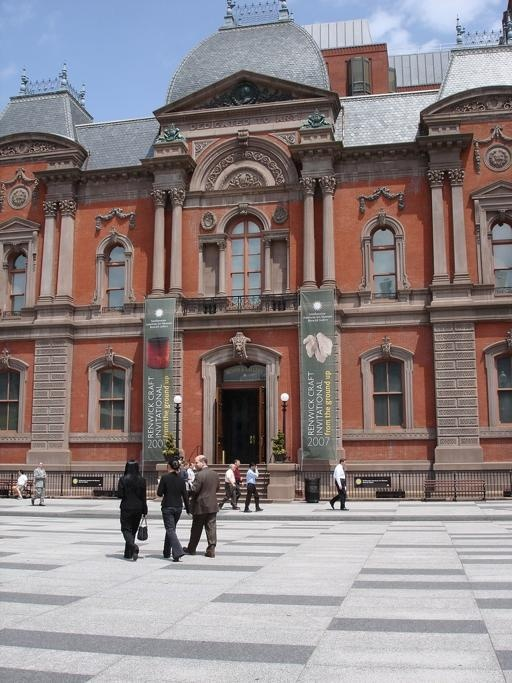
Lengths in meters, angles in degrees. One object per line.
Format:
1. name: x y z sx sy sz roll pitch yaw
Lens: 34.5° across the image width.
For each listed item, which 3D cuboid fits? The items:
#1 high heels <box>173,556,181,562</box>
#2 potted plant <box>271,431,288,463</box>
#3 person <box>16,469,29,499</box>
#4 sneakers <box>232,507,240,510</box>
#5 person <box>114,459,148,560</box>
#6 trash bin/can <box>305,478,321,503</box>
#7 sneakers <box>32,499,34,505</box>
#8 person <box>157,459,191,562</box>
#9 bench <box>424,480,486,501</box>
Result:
1. high heels: -1.208 3.239 12.283 0.123 0.093 0.076 -7 -1 4
2. potted plant: 0.727 3.477 27.020 0.425 0.994 0.589 0 -10 -3
3. person: -8.591 5.198 29.756 0.416 0.933 1.660 3 -10 -16
4. sneakers: -0.625 4.827 23.889 0.143 0.075 0.204 0 -8 0
5. person: -1.938 2.572 12.607 0.427 1.474 0.656 1 -10 -9
6. trash bin/can: 1.767 4.701 25.956 0.436 0.747 0.417 0 -10 -3
7. sneakers: -7.033 5.005 25.633 0.107 0.178 0.670 3 -10 -16
8. person: -1.321 2.587 12.803 0.507 1.528 1.071 1 -10 -5
9. bench: 6.411 4.750 26.372 1.924 0.668 1.218 -3 -10 14
